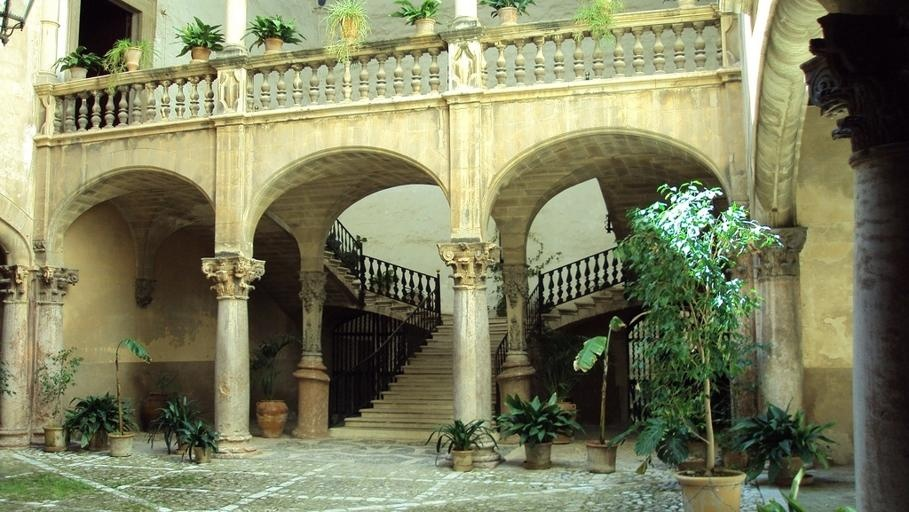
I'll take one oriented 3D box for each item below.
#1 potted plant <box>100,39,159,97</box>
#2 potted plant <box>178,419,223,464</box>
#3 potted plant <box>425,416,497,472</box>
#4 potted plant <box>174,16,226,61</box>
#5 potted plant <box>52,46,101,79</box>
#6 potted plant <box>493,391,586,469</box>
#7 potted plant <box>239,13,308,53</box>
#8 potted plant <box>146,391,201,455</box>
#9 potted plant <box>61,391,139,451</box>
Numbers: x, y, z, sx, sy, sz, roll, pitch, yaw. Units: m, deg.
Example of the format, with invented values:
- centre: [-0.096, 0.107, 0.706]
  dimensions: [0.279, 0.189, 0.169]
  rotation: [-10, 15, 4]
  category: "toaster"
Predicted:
- centre: [-6.678, -3.867, 20.129]
  dimensions: [0.975, 1.503, 1.039]
  rotation: [2, -12, -16]
  category: "potted plant"
- centre: [-4.817, 3.447, 18.526]
  dimensions: [0.782, 0.659, 0.756]
  rotation: [0, -3, -34]
  category: "potted plant"
- centre: [0.095, 3.396, 17.804]
  dimensions: [1.238, 0.761, 1.251]
  rotation: [4, -8, -32]
  category: "potted plant"
- centre: [-5.018, -4.329, 19.576]
  dimensions: [0.680, 1.093, 0.935]
  rotation: [6, -13, -31]
  category: "potted plant"
- centre: [-7.719, -3.885, 20.323]
  dimensions: [0.837, 0.469, 0.811]
  rotation: [0, -2, -29]
  category: "potted plant"
- centre: [1.439, 3.150, 17.900]
  dimensions: [1.469, 1.149, 1.385]
  rotation: [0, -12, 5]
  category: "potted plant"
- centre: [-3.544, -4.317, 19.283]
  dimensions: [0.848, 0.806, 0.750]
  rotation: [-10, -14, 35]
  category: "potted plant"
- centre: [-5.371, 3.295, 18.942]
  dimensions: [0.906, 0.741, 0.843]
  rotation: [6, 8, -9]
  category: "potted plant"
- centre: [-7.039, 3.197, 19.550]
  dimensions: [1.377, 0.895, 1.304]
  rotation: [3, 1, 23]
  category: "potted plant"
